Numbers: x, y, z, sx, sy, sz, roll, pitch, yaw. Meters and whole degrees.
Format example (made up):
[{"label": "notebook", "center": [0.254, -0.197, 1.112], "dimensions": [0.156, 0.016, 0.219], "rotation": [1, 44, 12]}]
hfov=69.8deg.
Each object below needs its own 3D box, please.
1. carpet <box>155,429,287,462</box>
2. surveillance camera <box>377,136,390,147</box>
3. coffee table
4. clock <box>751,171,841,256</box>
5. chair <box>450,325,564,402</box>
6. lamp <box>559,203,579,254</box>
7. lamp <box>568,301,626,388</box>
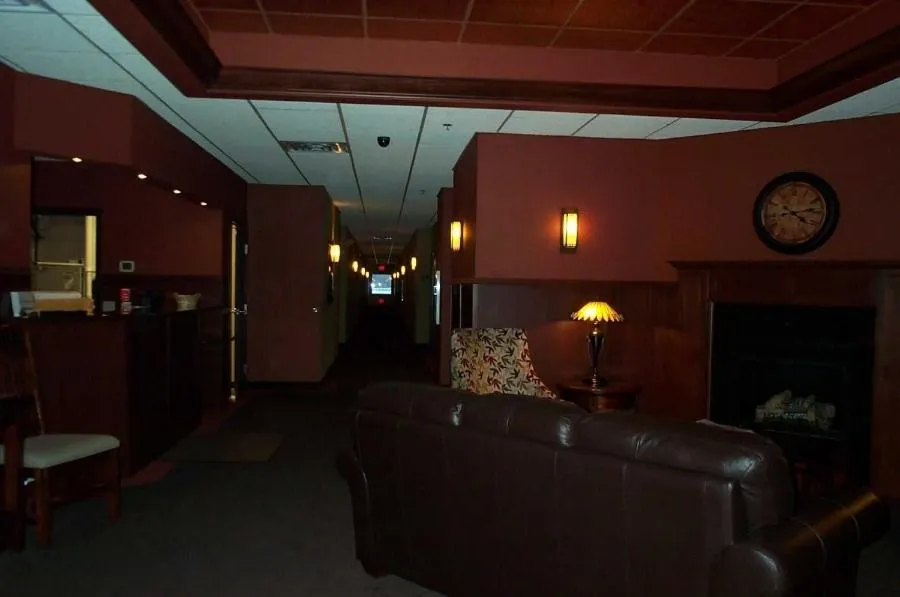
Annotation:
[{"label": "carpet", "center": [-2.342, 1.579, 6.735], "dimensions": [1.082, 0.062, 0.716], "rotation": [0, 11, -4]}, {"label": "surveillance camera", "center": [-0.753, -1.762, 7.305], "dimensions": [0.153, 0.042, 0.195], "rotation": [2, -14, -2]}, {"label": "coffee table", "center": [2.515, 1.176, 4.727], "dimensions": [0.993, 0.688, 0.548], "rotation": [1, -2, 33]}, {"label": "clock", "center": [3.388, -0.807, 6.333], "dimensions": [0.728, 0.874, 0.084], "rotation": [6, 40, 28]}, {"label": "chair", "center": [0.522, 0.716, 6.482], "dimensions": [0.703, 1.031, 0.816], "rotation": [0, -12, -1]}, {"label": "lamp", "center": [1.274, -0.715, 6.857], "dimensions": [0.211, 0.461, 0.112], "rotation": [1, 9, 1]}, {"label": "lamp", "center": [1.464, 0.452, 6.830], "dimensions": [0.711, 1.167, 0.743], "rotation": [0, 1, 21]}]
